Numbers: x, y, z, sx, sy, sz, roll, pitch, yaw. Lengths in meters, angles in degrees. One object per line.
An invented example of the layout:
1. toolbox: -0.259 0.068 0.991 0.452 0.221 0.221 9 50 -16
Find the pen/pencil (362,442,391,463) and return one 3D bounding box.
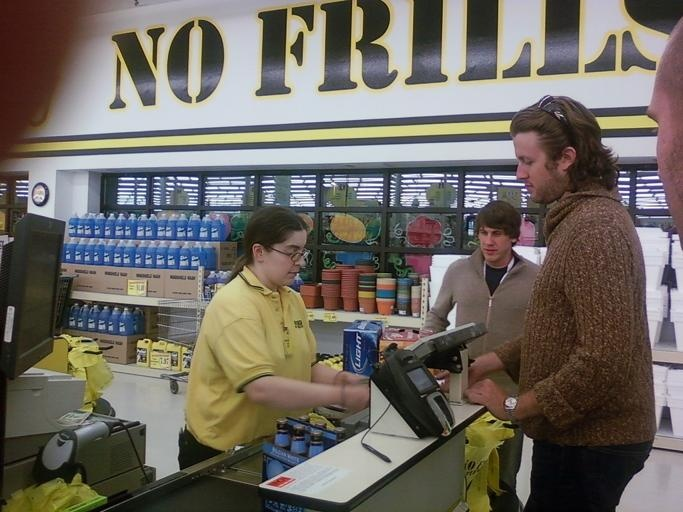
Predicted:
1. pen/pencil: 0.088 0.526 1.426 0.021 0.016 0.106 -18 33 -40

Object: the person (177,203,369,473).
1. person: -0.270 0.301 1.918 0.670 0.983 0.654 1 -3 -4

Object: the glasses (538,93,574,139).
1. glasses: 0.683 -0.451 1.683 0.040 0.131 0.133 -34 34 2

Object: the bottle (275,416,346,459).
1. bottle: -0.092 0.497 1.565 0.129 0.123 0.127 5 6 38

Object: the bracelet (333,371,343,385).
1. bracelet: -0.018 0.494 2.134 0.044 0.044 0.039 -1 -1 23

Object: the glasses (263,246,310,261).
1. glasses: -0.223 -0.009 2.071 0.164 0.050 0.157 12 5 23
